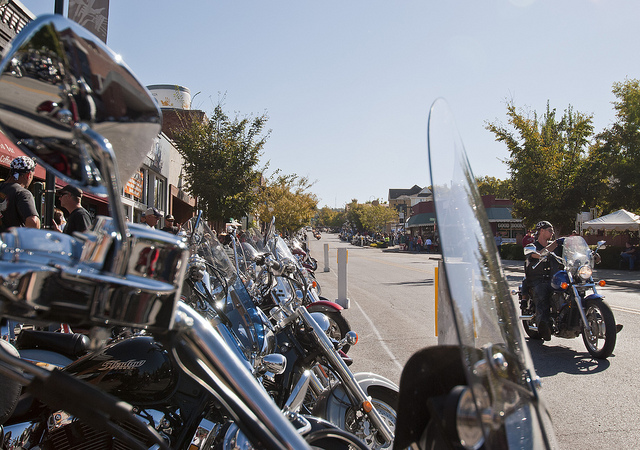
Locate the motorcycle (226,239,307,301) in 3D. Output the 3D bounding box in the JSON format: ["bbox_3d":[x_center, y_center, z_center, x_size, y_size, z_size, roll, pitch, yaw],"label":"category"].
[{"bbox_3d":[-0.469,0.439,3.883,0.538,0.369,0.317,-17,23,-40],"label":"motorcycle"}]

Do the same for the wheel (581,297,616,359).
[{"bbox_3d":[3.783,1.423,6.514,0.155,0.676,0.643,-11,6,-11],"label":"wheel"}]

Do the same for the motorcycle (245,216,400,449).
[{"bbox_3d":[-0.034,0.833,3.270,1.349,1.060,0.946,0,-4,1],"label":"motorcycle"}]

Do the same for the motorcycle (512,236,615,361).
[{"bbox_3d":[3.708,1.026,7.348,0.988,1.703,2.399,0,-2,-4],"label":"motorcycle"}]

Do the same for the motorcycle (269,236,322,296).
[{"bbox_3d":[-0.384,0.581,6.587,0.615,0.729,1.008,-1,-6,-19],"label":"motorcycle"}]

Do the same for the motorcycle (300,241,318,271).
[{"bbox_3d":[-0.337,0.938,14.247,0.486,0.582,0.788,-5,-6,-36],"label":"motorcycle"}]

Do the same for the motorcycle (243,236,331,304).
[{"bbox_3d":[-0.533,0.570,6.400,1.223,0.876,0.851,0,-5,-1],"label":"motorcycle"}]

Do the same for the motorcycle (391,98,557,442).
[{"bbox_3d":[0.508,0.122,1.603,0.496,1.208,0.488,2,-6,1],"label":"motorcycle"}]

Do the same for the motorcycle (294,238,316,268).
[{"bbox_3d":[-0.470,0.763,13.647,0.448,0.503,0.717,-1,0,-28],"label":"motorcycle"}]

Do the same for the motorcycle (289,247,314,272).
[{"bbox_3d":[-0.389,0.769,11.157,0.565,0.433,0.383,-9,-4,37],"label":"motorcycle"}]

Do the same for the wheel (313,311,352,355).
[{"bbox_3d":[0.075,1.379,6.385,0.223,0.701,0.659,-3,-20,-10],"label":"wheel"}]

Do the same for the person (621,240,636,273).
[{"bbox_3d":[13.681,1.373,21.203,0.554,1.419,1.259,-2,-8,34],"label":"person"}]
